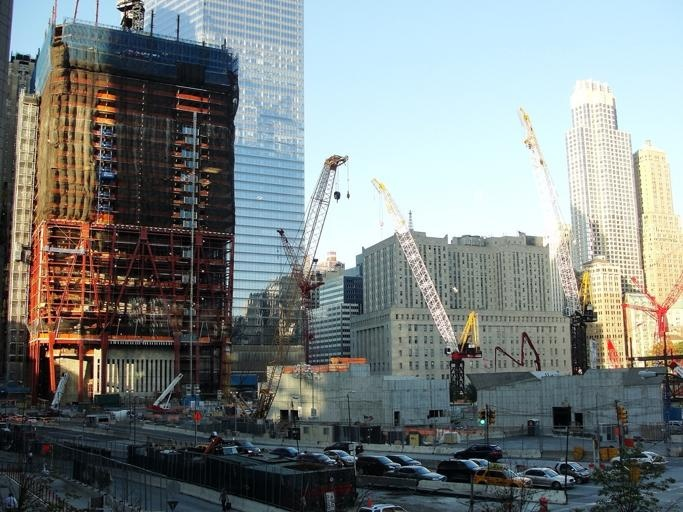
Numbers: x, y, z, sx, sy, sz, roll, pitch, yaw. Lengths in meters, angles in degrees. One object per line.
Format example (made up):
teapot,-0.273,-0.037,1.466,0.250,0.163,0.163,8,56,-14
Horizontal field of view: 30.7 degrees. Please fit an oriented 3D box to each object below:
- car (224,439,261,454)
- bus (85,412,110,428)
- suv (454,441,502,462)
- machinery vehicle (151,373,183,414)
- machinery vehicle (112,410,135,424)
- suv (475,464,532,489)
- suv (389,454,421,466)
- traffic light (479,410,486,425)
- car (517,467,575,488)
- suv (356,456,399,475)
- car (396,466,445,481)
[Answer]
car,-17.048,33.701,220.345,2.625,1.945,5.822,8,-15,-39
bus,-49.739,33.584,254.387,4.638,2.886,5.995,2,-13,-17
suv,23.947,34.087,215.586,6.065,2.707,3.454,3,-6,15
machinery vehicle,-40.829,31.636,289.280,7.381,9.257,2.498,-1,10,-8
machinery vehicle,-46.016,34.155,263.481,4.421,2.737,4.338,-5,-12,25
suv,24.717,35.693,199.836,7.090,3.077,3.946,-6,-7,24
suv,10.131,34.295,209.214,4.817,1.653,2.037,-9,-8,39
traffic light,23.738,27.271,210.909,0.945,2.358,0.925,-3,-13,5
car,33.216,36.079,202.398,8.193,2.687,3.492,-5,-5,23
suv,5.755,34.918,207.394,5.445,2.620,3.217,-7,-9,25
car,12.490,35.493,203.391,7.361,2.577,2.190,-2,-13,2
